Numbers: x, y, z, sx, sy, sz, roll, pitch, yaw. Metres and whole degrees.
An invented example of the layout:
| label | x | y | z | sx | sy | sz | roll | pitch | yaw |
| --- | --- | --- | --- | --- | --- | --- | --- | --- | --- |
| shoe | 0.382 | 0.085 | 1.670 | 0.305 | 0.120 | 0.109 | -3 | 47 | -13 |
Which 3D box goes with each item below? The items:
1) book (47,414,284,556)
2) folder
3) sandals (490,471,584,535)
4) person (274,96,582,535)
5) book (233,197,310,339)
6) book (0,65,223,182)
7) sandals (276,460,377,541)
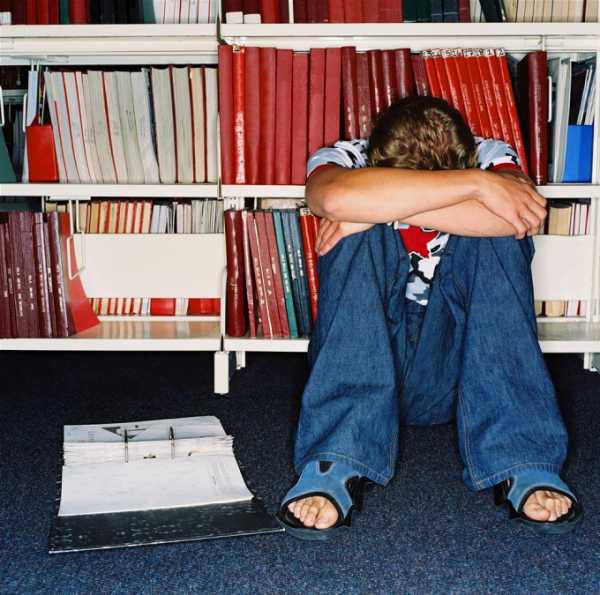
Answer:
| label | x | y | z | sx | sy | sz | roll | pitch | yaw |
| --- | --- | --- | --- | --- | --- | --- | --- | --- | --- |
| book | -0.276 | 0.291 | 1.210 | 0.365 | 0.060 | 0.564 | 2 | 9 | -18 |
| folder | -0.290 | 0.286 | 1.191 | 0.347 | 0.066 | 0.541 | -1 | 12 | -20 |
| sandals | 0.379 | 0.305 | 1.018 | 0.138 | 0.048 | 0.169 | -8 | 13 | 2 |
| person | 0.208 | -0.029 | 1.148 | 0.468 | 0.694 | 0.532 | -1 | 10 | 2 |
| book | -0.078 | -0.076 | 1.885 | 0.351 | 0.381 | 0.410 | -3 | -2 | 2 |
| book | -0.492 | -0.468 | 1.731 | 0.348 | 0.390 | 0.134 | 2 | 42 | -1 |
| sandals | 0.047 | 0.304 | 1.053 | 0.116 | 0.072 | 0.231 | 10 | 17 | 11 |
